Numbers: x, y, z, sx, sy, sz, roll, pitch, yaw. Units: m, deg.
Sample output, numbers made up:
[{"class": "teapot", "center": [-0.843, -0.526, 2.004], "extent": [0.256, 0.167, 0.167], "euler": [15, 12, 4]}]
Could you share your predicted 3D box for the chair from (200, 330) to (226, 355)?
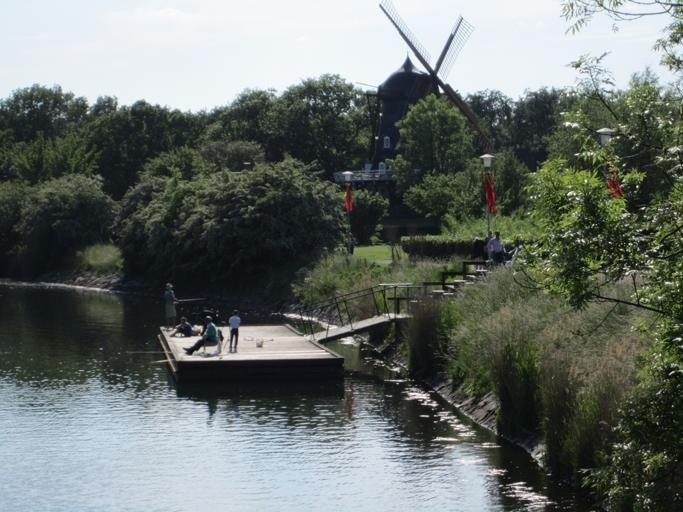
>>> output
[{"class": "chair", "center": [-4.634, 3.148, 42.094], "extent": [0.784, 1.333, 0.657], "euler": [3, -5, -15]}]

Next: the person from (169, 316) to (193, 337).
[{"class": "person", "center": [-6.513, 2.844, 47.065], "extent": [0.898, 0.828, 0.647], "euler": [-7, -2, 5]}]
